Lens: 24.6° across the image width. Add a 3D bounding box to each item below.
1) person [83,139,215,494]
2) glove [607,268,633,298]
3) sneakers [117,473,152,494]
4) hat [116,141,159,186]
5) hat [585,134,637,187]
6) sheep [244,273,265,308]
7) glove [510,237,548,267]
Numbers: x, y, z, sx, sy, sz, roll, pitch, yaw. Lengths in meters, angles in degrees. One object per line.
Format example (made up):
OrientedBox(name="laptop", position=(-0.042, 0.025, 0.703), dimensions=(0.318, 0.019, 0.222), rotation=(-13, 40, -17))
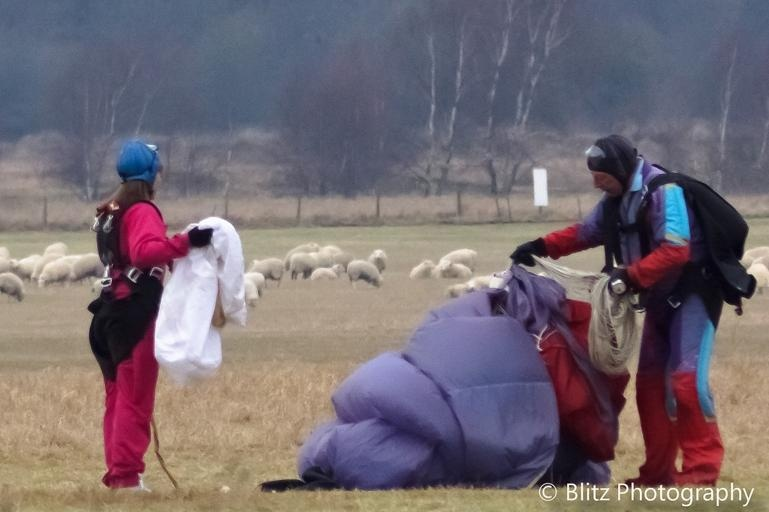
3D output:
OrientedBox(name="person", position=(-2.895, 0.689, 20.628), dimensions=(1.123, 4.044, 0.558), rotation=(-1, 4, -10))
OrientedBox(name="glove", position=(2.760, 0.328, 20.666), dimensions=(0.246, 0.306, 0.308), rotation=(0, -13, 11))
OrientedBox(name="sneakers", position=(-2.894, 2.656, 20.509), dimensions=(0.294, 0.089, 0.215), rotation=(-1, 7, -23))
OrientedBox(name="hat", position=(-2.942, -1.117, 20.804), dimensions=(0.578, 0.443, 0.408), rotation=(0, -2, -33))
OrientedBox(name="hat", position=(2.668, -1.153, 20.912), dimensions=(0.648, 0.580, 0.568), rotation=(-15, 21, -24))
OrientedBox(name="sheep", position=(-2.036, 0.545, 27.670), dimensions=(0.299, 0.515, 1.013), rotation=(0, 4, -5))
OrientedBox(name="glove", position=(1.716, -0.049, 21.085), dimensions=(0.464, 0.189, 0.263), rotation=(-18, 54, -20))
